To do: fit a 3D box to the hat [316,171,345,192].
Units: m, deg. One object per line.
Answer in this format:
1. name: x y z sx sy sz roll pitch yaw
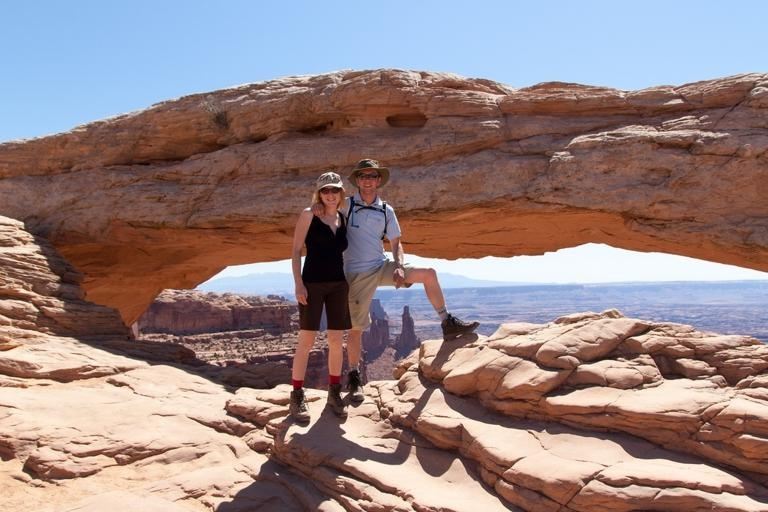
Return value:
1. hat: -0.717 -1.023 8.216 0.435 0.173 0.432 0 -2 -2
